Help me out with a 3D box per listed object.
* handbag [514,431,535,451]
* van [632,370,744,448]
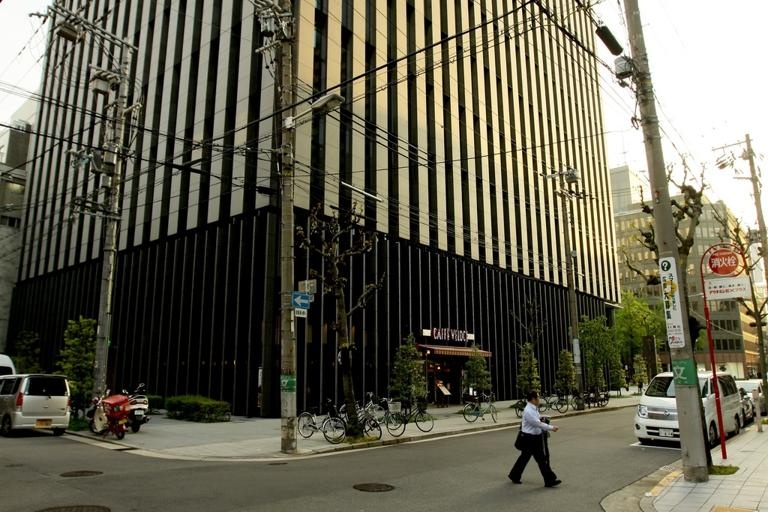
[{"bbox_3d":[5.157,6.850,24.841,0.322,0.734,0.614,11,-20,-41],"label":"handbag"},{"bbox_3d":[14.294,6.929,30.481,5.983,3.320,2.680,6,-17,-29],"label":"van"}]
